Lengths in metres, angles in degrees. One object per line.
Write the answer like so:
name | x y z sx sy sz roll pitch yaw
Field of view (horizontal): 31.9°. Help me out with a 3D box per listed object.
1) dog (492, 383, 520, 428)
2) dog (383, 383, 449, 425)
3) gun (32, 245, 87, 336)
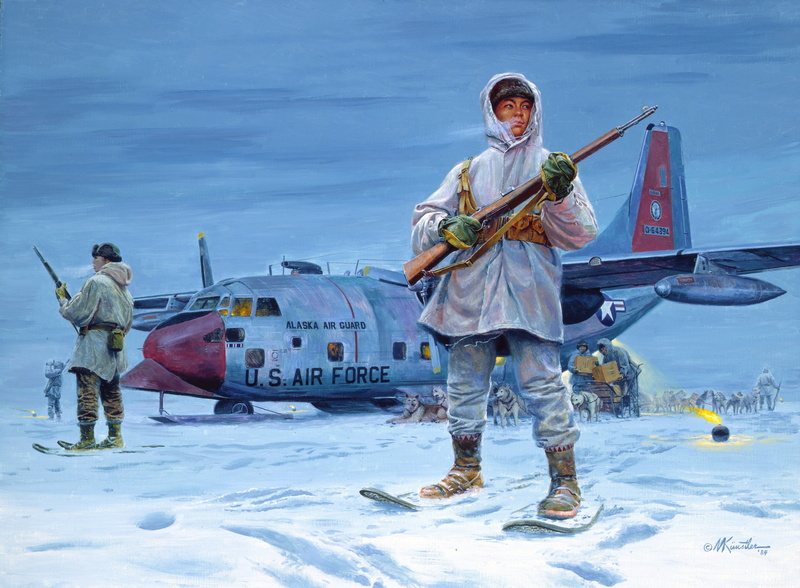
dog | 1.275 1.300 16.460 0.249 0.434 0.912 -3 -6 11
dog | 0.345 1.377 16.901 0.926 0.375 0.318 5 -8 -44
gun | -2.669 0.089 11.397 0.082 1.005 0.182 -41 1 -37
